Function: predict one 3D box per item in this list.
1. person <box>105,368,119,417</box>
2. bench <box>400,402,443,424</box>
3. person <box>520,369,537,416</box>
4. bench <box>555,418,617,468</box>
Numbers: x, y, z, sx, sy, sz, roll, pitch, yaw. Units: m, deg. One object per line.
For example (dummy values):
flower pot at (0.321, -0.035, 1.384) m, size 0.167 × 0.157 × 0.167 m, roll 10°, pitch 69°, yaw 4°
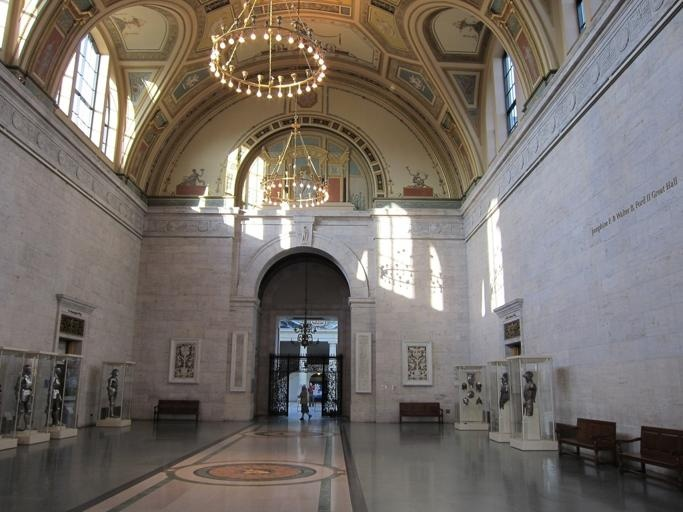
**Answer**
person at (-7.675, 4.587, 15.693) m, size 0.400 × 1.598 × 0.350 m, roll 2°, pitch -14°, yaw -10°
bench at (3.039, 5.994, 17.970) m, size 1.681 × 0.770 × 0.902 m, roll -3°, pitch -15°, yaw 7°
person at (4.486, 3.286, 11.220) m, size 0.358 × 1.037 × 0.168 m, roll -5°, pitch -14°, yaw 18°
bench at (5.037, 3.864, 9.627) m, size 0.369 × 0.602 × 1.090 m, roll 5°, pitch -15°, yaw -8°
